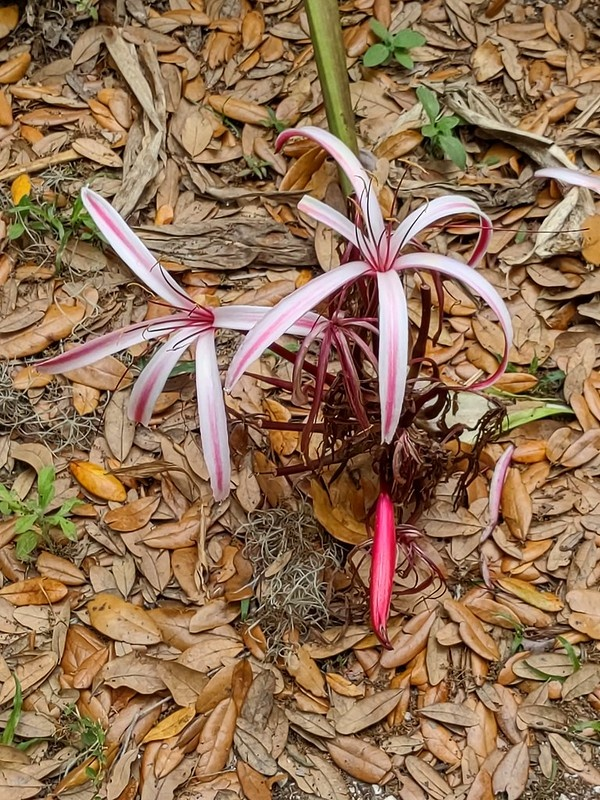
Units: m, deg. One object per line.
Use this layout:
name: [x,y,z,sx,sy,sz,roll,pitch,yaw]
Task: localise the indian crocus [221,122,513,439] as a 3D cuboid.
indian crocus: [0.053,-0.097,0.712,0.212,0.275,0.145,-1,96,43]
